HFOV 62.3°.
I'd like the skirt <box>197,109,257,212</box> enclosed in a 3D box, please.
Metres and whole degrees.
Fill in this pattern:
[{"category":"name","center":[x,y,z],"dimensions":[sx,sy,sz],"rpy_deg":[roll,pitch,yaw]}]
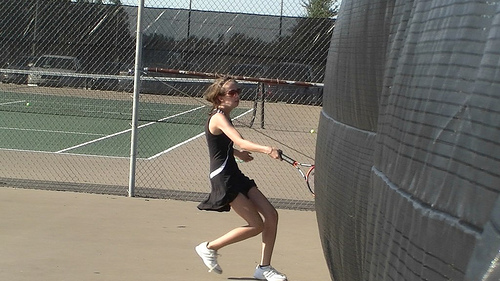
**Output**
[{"category":"skirt","center":[-0.271,0.258,4.404],"dimensions":[0.610,1.154,0.370],"rpy_deg":[9,11,22]}]

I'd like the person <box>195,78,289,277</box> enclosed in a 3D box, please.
[{"category":"person","center":[-0.100,0.411,4.422],"dimensions":[0.860,2.093,0.844],"rpy_deg":[3,11,-7]}]
